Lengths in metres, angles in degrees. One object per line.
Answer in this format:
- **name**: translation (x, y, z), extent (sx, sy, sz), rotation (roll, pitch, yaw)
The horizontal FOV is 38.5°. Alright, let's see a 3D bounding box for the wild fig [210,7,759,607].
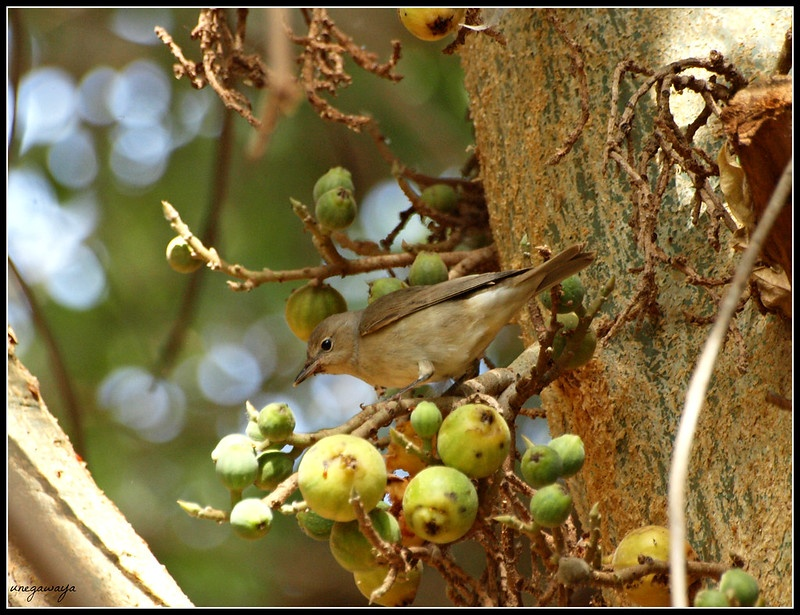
- **wild fig**: translation (0.500, -0.043, 4.825), extent (2.080, 2.869, 1.158), rotation (-10, -34, 26)
